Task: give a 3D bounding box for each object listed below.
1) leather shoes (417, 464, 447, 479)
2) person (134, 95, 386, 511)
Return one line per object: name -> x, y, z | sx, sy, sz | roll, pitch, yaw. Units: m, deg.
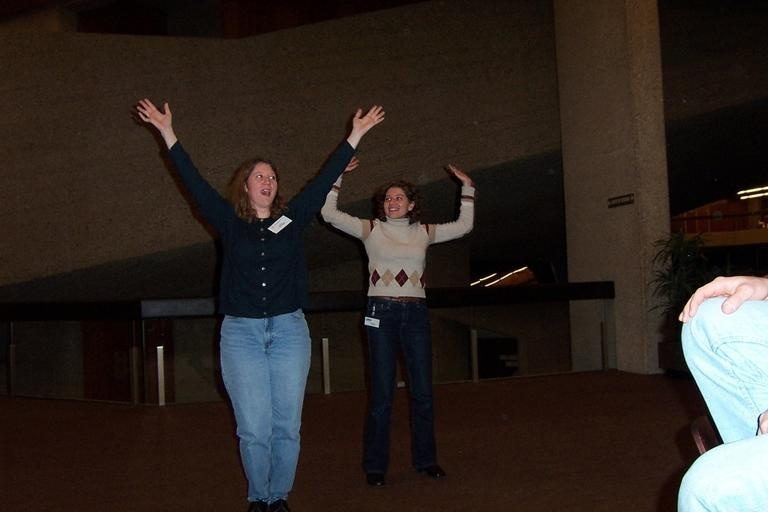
leather shoes -> 0.367, 1.653, 4.860 | 0.228, 0.095, 0.091 | -9, -12, 35
person -> -0.794, 0.385, 4.382 | 1.322, 2.817, 0.704 | -5, 8, -21
